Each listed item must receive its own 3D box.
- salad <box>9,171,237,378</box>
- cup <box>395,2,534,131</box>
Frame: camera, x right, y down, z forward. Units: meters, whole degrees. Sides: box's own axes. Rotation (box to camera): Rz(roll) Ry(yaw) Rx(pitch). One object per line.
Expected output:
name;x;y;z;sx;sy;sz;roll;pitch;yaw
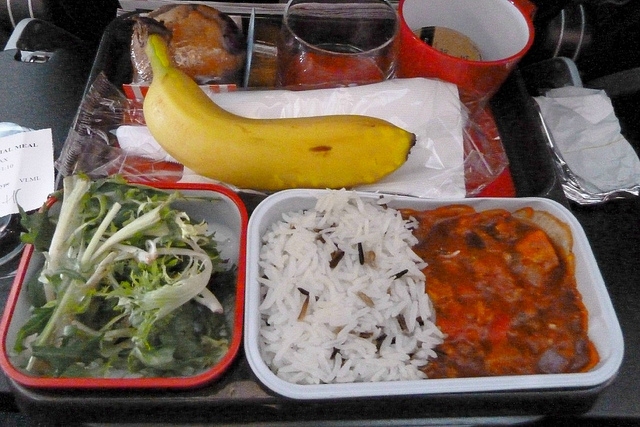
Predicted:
salad;-0.557;0.180;1.502;0.600;0.221;0.581;2;73;-2
cup;0.512;-0.615;1.914;0.394;0.357;0.490;14;70;8
